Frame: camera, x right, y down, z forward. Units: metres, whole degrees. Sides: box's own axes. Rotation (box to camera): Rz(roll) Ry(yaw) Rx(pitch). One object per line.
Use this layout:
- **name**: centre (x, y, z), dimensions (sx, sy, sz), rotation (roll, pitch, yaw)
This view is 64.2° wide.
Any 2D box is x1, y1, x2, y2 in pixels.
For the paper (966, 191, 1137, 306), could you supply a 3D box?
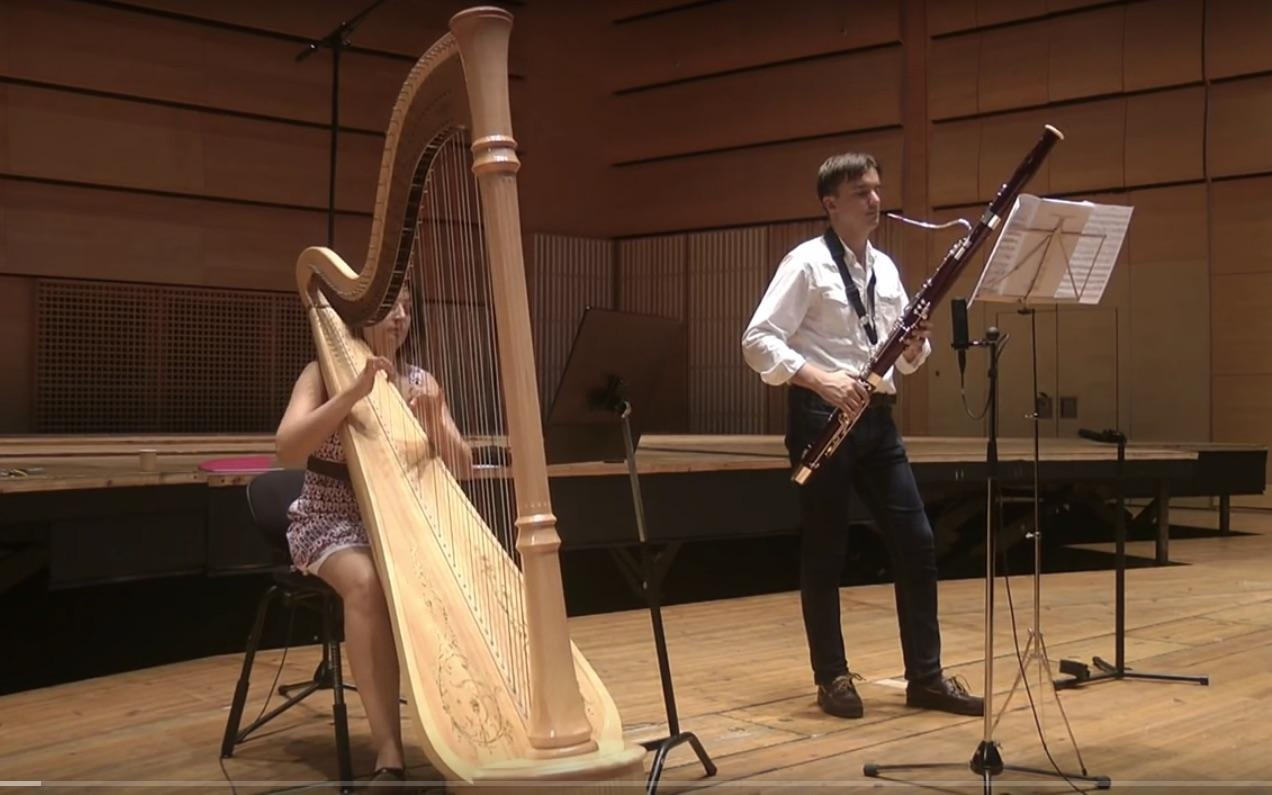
- **paper**: centre (1.628, -0.582, 4.029), dimensions (0.732, 0.428, 0.353), rotation (-4, 6, -34)

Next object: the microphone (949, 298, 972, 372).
- **microphone**: centre (1.259, -0.233, 3.918), dimensions (0.088, 0.297, 0.091), rotation (2, 15, 37)

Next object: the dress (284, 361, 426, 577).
- **dress**: centre (-1.082, 0.308, 3.839), dimensions (0.225, 0.639, 0.470), rotation (12, 2, 41)

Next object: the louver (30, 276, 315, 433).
- **louver**: centre (-3.929, -0.348, 8.634), dimensions (2.216, 1.247, 0.078), rotation (1, 1, -4)

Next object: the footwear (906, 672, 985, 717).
- **footwear**: centre (1.325, 1.291, 4.398), dimensions (0.367, 0.144, 0.128), rotation (-1, -6, 23)

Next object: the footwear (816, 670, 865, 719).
- **footwear**: centre (0.881, 1.296, 4.400), dimensions (0.112, 0.119, 0.245), rotation (0, -3, -27)
